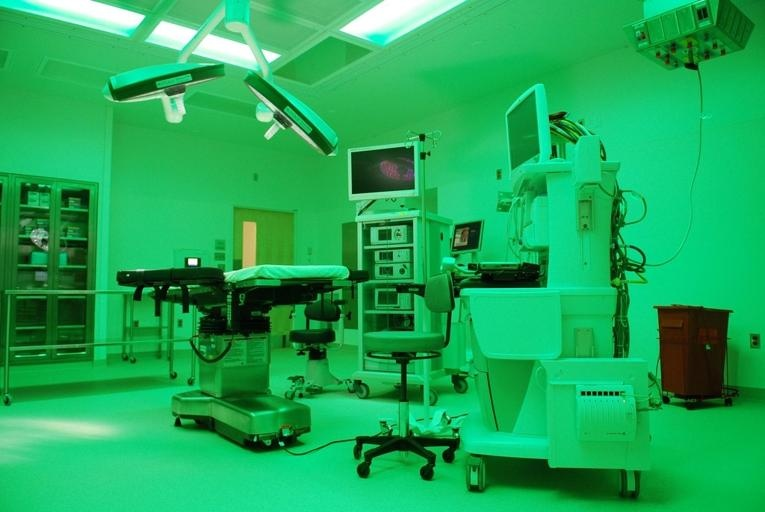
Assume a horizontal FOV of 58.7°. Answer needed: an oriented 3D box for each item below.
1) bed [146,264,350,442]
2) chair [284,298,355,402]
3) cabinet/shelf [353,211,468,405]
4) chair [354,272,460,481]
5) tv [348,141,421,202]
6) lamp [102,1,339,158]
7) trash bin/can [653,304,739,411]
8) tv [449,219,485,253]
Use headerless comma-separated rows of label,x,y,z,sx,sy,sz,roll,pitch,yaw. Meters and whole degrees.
bed,-1.345,0.960,6.714,1.228,1.443,2.338,7,-9,-37
chair,-0.672,1.028,7.812,0.953,1.006,0.752,1,-3,-21
cabinet/shelf,0.449,0.537,7.869,1.303,2.179,1.251,25,-41,-31
chair,0.228,0.910,6.159,0.922,1.656,1.558,0,14,4
tv,-0.023,-0.982,7.897,1.070,0.623,0.097,-11,17,-38
lamp,-1.882,-2.083,7.742,2.278,1.419,0.805,7,19,-7
trash bin/can,3.340,1.066,7.362,0.987,0.924,0.966,-2,-8,31
tv,1.106,-0.245,8.834,0.070,0.325,0.500,9,-11,-34
